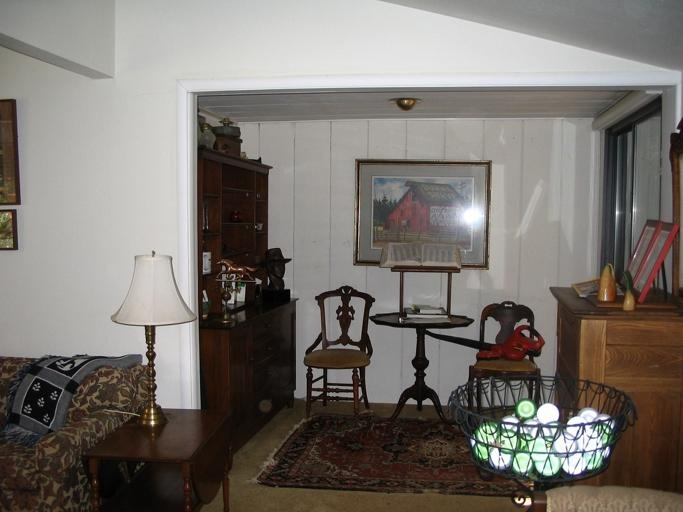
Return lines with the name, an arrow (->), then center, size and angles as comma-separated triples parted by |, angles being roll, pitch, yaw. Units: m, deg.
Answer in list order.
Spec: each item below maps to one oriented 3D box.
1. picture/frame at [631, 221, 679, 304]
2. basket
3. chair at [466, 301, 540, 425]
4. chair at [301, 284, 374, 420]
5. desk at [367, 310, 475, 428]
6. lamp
picture/frame -> 1.839, 0.002, 3.385 | 0.187, 0.502, 0.307 | 5, 7, 12
basket -> 0.846, 0.685, 2.312 | 0.646, 0.251, 0.686 | -6, 4, -11
chair -> 1.488, 0.785, 5.088 | 0.669, 1.224, 0.649 | 5, 6, 16
chair -> -0.016, 0.910, 5.490 | 0.661, 1.215, 0.896 | 0, 7, 3
desk -> 0.818, 0.976, 5.536 | 0.854, 1.011, 0.775 | 4, 5, 7
lamp -> -1.050, 0.437, 3.489 | 0.475, 1.077, 0.515 | 1, 0, 17
